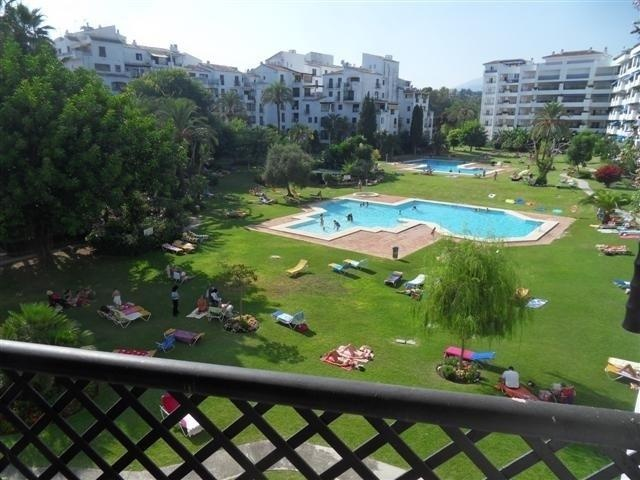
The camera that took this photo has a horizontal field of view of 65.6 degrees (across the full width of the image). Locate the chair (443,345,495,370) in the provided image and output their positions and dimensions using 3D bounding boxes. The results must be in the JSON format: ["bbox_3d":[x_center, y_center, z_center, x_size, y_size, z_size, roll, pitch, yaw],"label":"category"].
[{"bbox_3d":[4.893,3.812,16.421,1.311,0.457,0.843,8,12,33],"label":"chair"}]

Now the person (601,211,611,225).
[{"bbox_3d":[20.351,-1.594,35.318,0.622,0.904,1.075,9,17,29],"label":"person"}]

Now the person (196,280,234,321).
[{"bbox_3d":[-4.205,2.618,19.700,0.781,1.020,1.978,-11,18,-38],"label":"person"}]

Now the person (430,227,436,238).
[{"bbox_3d":[7.793,-0.488,34.160,0.285,0.825,1.069,2,26,18],"label":"person"}]

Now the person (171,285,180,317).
[{"bbox_3d":[-5.887,2.433,20.223,0.276,1.036,1.282,-4,15,-17],"label":"person"}]

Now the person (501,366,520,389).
[{"bbox_3d":[5.584,4.018,14.485,0.483,0.534,0.793,5,15,17],"label":"person"}]

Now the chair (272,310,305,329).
[{"bbox_3d":[-1.213,3.047,18.990,0.931,0.380,0.680,18,15,33],"label":"chair"}]

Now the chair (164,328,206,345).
[{"bbox_3d":[-4.879,3.420,17.620,1.035,0.286,0.616,8,25,10],"label":"chair"}]
